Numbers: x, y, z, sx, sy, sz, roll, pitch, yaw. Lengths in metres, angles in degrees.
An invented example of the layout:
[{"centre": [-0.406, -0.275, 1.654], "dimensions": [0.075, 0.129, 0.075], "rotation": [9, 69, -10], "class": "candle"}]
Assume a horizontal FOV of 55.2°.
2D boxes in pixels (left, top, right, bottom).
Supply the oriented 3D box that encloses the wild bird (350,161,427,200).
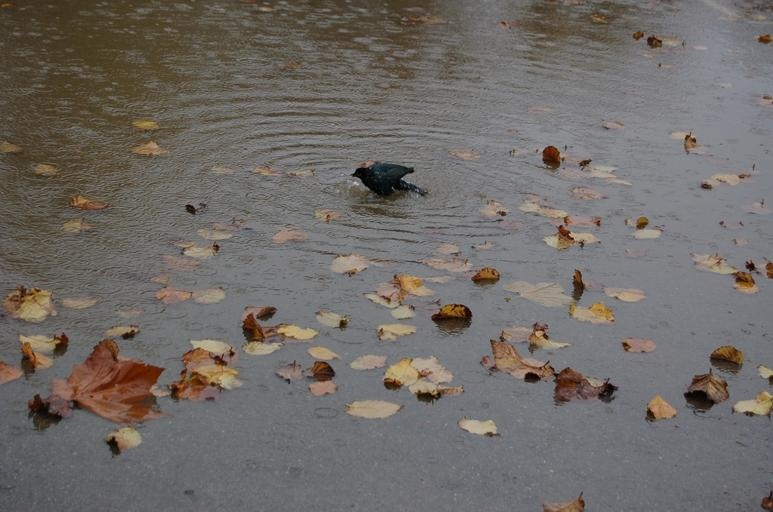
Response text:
[{"centre": [0.075, -0.787, 7.412], "dimensions": [0.549, 0.355, 0.526], "rotation": [-15, 50, -26], "class": "wild bird"}]
